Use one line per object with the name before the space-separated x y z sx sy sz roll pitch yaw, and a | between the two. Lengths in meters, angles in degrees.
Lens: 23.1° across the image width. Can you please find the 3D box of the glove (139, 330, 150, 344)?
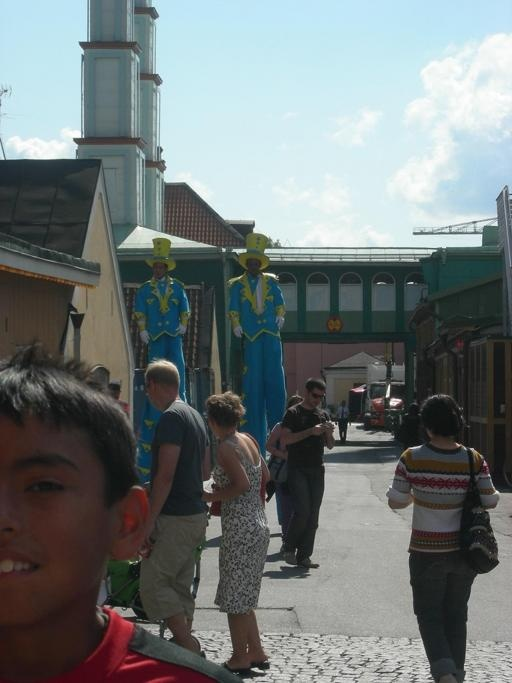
glove | -1.177 -0.035 13.330 0.099 0.155 0.052 -1 10 27

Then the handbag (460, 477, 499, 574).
handbag | 0.953 0.812 5.363 0.155 0.405 0.301 1 0 10

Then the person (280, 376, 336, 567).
person | 0.387 0.987 9.588 0.401 1.396 0.629 1 0 2

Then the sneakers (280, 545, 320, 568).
sneakers | 0.337 1.624 9.400 0.271 0.152 0.320 1 0 -1

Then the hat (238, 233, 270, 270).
hat | -0.013 -0.907 12.306 0.287 0.346 0.595 1 0 -1

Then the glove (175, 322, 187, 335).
glove | -0.802 -0.139 13.508 0.102 0.124 0.122 -1 -13 3

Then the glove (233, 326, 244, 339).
glove | -0.174 -0.089 12.299 0.077 0.116 0.037 -9 4 -24
